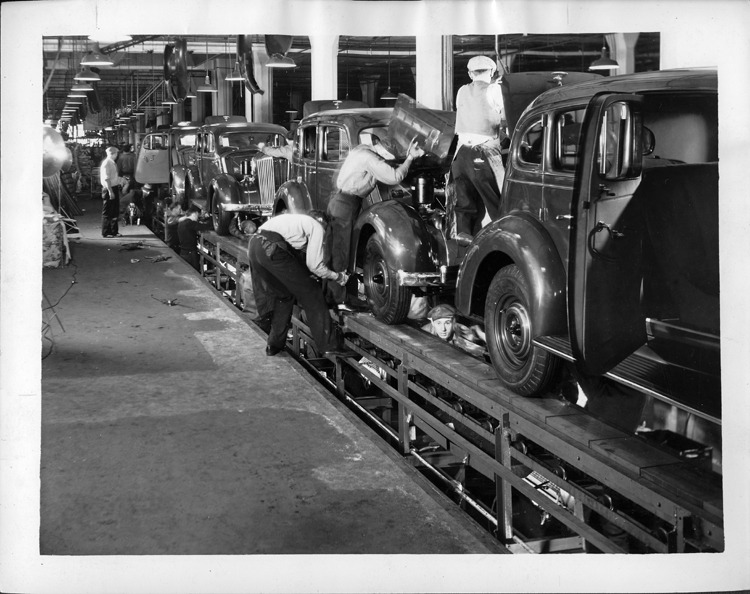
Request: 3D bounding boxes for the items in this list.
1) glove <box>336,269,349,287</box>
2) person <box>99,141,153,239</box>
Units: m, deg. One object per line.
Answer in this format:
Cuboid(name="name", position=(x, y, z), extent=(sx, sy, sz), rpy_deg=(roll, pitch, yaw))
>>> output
Cuboid(name="glove", position=(-0.303, -0.187, 6.089), extent=(0.082, 0.115, 0.119), rpy_deg=(2, -26, 0))
Cuboid(name="person", position=(-5.775, -2.430, 14.926), extent=(0.837, 2.637, 1.116), rpy_deg=(-6, 43, -20))
